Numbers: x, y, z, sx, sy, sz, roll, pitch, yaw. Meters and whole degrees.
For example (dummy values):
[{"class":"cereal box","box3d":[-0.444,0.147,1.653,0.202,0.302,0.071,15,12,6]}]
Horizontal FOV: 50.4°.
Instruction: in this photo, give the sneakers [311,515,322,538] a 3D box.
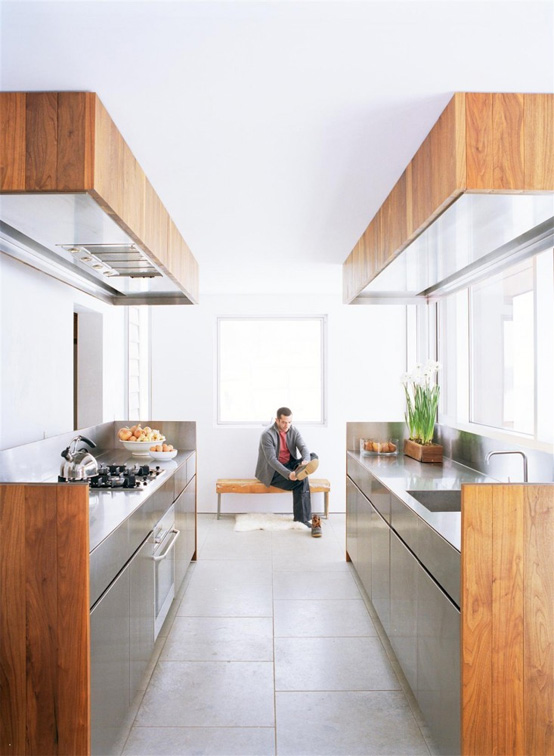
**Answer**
[{"class":"sneakers","box3d":[0.337,1.260,5.016,0.083,0.187,0.196,0,0,3]}]

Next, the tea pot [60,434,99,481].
[{"class":"tea pot","box3d":[-0.832,0.337,2.507,0.129,0.211,0.208,-6,-4,11]}]

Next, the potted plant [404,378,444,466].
[{"class":"potted plant","box3d":[0.959,0.303,3.843,0.160,0.588,0.452,1,-2,1]}]

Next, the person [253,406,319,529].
[{"class":"person","box3d":[0.077,0.808,5.279,0.524,1.072,0.654,0,0,-2]}]

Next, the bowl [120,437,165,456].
[{"class":"bowl","box3d":[-0.859,0.454,3.794,0.316,0.111,0.324,0,-1,0]}]

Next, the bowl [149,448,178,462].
[{"class":"bowl","box3d":[-0.703,0.479,3.616,0.154,0.077,0.223,1,-1,-12]}]

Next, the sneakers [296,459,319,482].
[{"class":"sneakers","box3d":[0.249,0.780,5.068,0.098,0.121,0.296,9,-49,-36]}]
